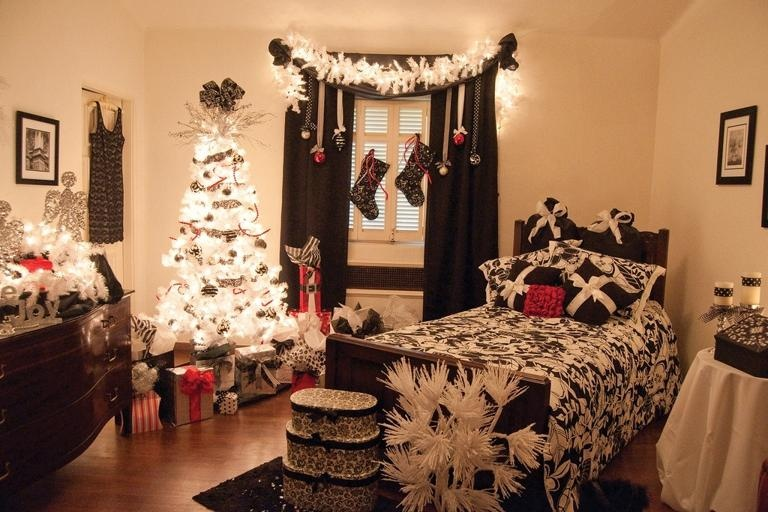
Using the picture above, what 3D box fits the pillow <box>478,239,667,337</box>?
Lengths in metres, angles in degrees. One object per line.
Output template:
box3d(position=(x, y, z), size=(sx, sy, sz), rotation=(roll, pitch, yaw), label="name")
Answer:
box3d(position=(1.461, 0.148, 4.498), size=(0.953, 0.303, 0.863), rotation=(13, 35, 40), label="pillow")

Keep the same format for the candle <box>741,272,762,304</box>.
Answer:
box3d(position=(2.327, 0.198, 3.503), size=(0.160, 0.199, 0.082), rotation=(-3, 7, -15), label="candle")

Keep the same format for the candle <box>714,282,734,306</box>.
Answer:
box3d(position=(2.182, 0.236, 3.580), size=(0.100, 0.147, 0.111), rotation=(3, 8, 28), label="candle")

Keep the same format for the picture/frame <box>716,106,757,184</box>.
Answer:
box3d(position=(2.745, -0.860, 4.360), size=(0.359, 0.491, 0.035), rotation=(-8, 13, -24), label="picture/frame")

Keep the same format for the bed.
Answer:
box3d(position=(0.951, 0.554, 3.814), size=(1.944, 1.137, 1.418), rotation=(-7, 8, -44), label="bed")
